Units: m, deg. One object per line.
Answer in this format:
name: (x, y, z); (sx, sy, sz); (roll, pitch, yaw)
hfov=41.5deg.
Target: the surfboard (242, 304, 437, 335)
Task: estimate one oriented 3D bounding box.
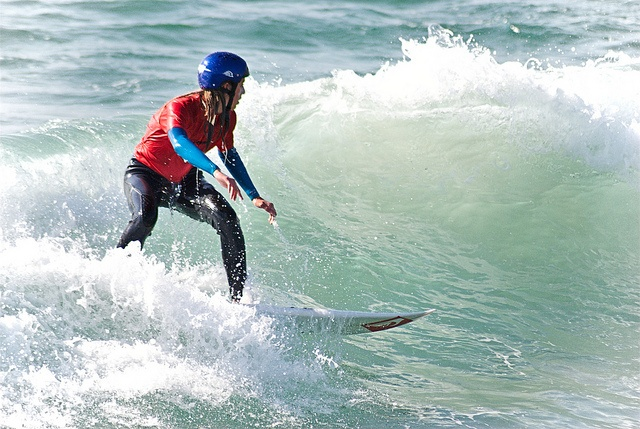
surfboard: (0.223, 1.526, 12.114); (2.913, 0.270, 0.261); (4, 37, -11)
